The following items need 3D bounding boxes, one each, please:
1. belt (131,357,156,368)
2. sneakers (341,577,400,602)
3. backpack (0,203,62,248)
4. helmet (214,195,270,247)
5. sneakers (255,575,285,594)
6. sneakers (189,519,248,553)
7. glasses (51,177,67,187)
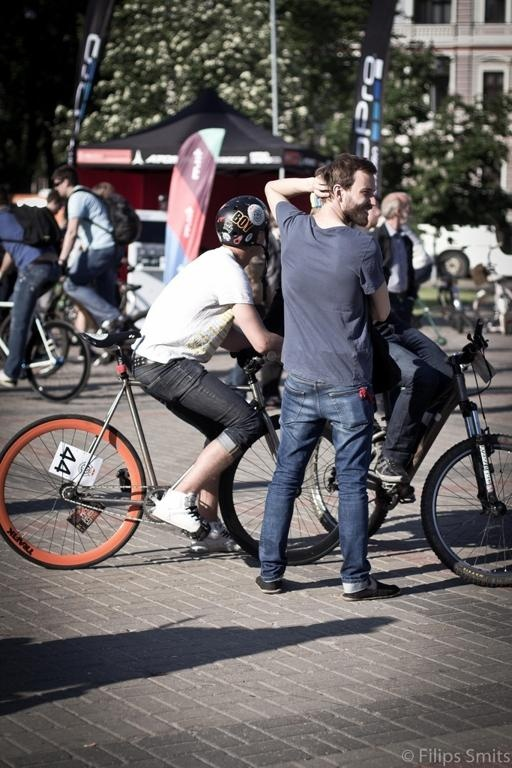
[{"bbox_3d":[-0.531,-0.094,4.006,0.084,0.022,0.055,4,-5,-4],"label":"belt"},{"bbox_3d":[0.515,0.915,3.845,0.280,0.102,0.095,-2,6,-22],"label":"sneakers"},{"bbox_3d":[-2.452,-1.709,9.435,0.486,0.592,0.631,7,-3,-40],"label":"backpack"},{"bbox_3d":[-0.030,-0.758,3.949,0.206,0.203,0.262,25,43,23],"label":"helmet"},{"bbox_3d":[0.058,0.904,3.885,0.057,0.051,0.136,-1,3,-14],"label":"sneakers"},{"bbox_3d":[-0.153,0.790,4.471,0.359,0.176,0.116,0,10,-19],"label":"sneakers"},{"bbox_3d":[-2.220,-2.257,9.708,0.141,0.064,0.108,4,4,-10],"label":"glasses"}]
